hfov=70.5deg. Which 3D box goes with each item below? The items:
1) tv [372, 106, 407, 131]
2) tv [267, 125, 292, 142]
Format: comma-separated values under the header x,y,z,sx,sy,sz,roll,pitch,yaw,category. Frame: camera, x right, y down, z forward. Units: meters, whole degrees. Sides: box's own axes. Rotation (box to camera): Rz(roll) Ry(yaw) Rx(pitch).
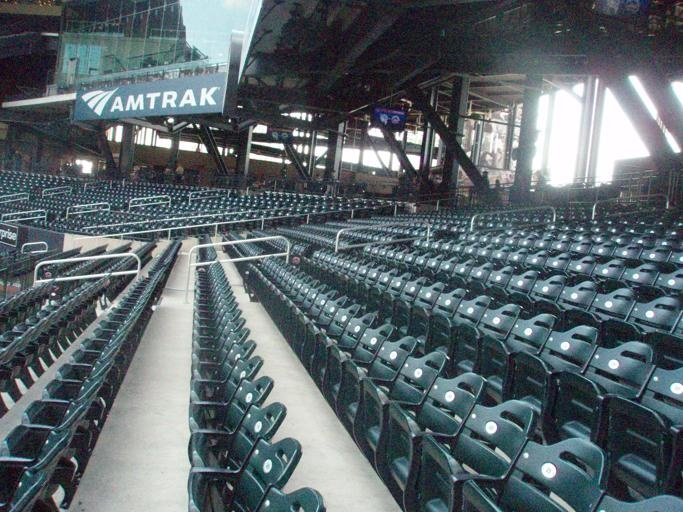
x,y,z,sx,sy,sz,roll,pitch,yaw,category
1.705,-4.920,17.427,1.068,0.811,0.865,2,7,13,tv
-3.484,-6.843,27.416,1.157,0.604,1.611,2,6,-12,tv
